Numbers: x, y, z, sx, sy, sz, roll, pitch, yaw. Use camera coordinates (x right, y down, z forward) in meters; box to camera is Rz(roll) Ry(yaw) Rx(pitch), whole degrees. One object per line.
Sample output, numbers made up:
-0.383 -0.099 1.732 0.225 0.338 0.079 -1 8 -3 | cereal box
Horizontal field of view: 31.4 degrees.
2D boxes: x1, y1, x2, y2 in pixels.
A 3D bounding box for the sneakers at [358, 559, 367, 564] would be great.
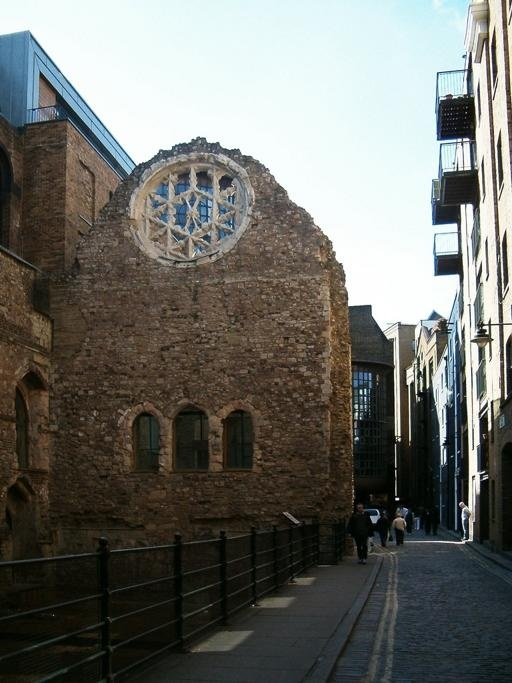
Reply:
2.402 5.074 20.789 0.106 0.130 0.322 0 -4 14 | sneakers
